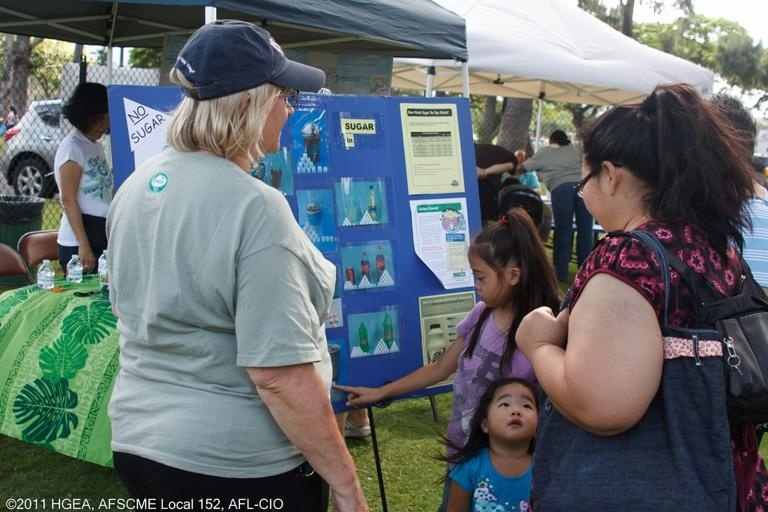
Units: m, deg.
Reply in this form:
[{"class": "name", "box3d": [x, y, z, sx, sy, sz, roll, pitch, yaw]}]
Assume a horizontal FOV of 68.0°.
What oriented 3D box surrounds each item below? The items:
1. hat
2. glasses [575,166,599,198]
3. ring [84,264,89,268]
[{"class": "hat", "box3d": [-0.438, -0.625, 1.849, 0.397, 0.167, 0.249, -8, 22, -20]}, {"class": "glasses", "box3d": [0.678, -0.240, 1.866, 0.023, 0.075, 0.074, 32, 15, 6]}, {"class": "ring", "box3d": [-2.327, 0.078, 4.473, 0.035, 0.033, 0.009, 7, 0, 0]}]
